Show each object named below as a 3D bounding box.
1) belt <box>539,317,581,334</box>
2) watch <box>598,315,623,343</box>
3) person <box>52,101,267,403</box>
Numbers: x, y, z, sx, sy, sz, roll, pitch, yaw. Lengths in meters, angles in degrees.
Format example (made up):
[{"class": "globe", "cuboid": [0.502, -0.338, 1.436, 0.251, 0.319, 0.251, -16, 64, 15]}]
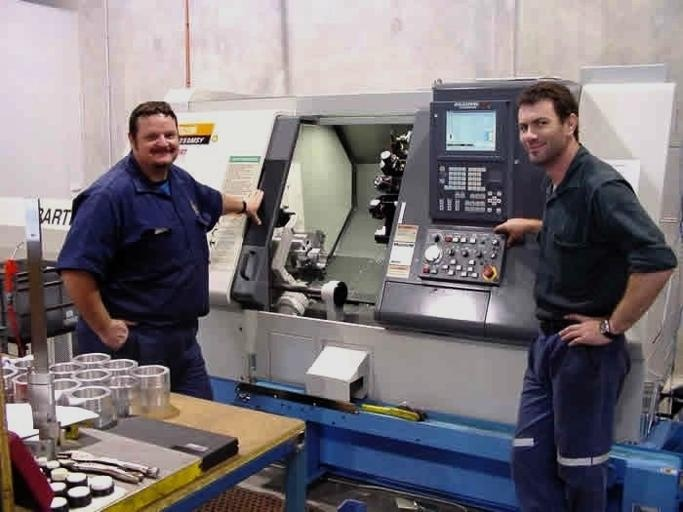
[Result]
[{"class": "belt", "cuboid": [0.799, 0.255, 2.244, 0.090, 0.034, 0.068, -8, -2, 41]}, {"class": "watch", "cuboid": [0.935, 0.250, 2.120, 0.078, 0.048, 0.066, 33, 20, 13]}, {"class": "person", "cuboid": [-0.880, -0.005, 2.566, 0.612, 1.306, 0.253, -3, 8, -27]}]
